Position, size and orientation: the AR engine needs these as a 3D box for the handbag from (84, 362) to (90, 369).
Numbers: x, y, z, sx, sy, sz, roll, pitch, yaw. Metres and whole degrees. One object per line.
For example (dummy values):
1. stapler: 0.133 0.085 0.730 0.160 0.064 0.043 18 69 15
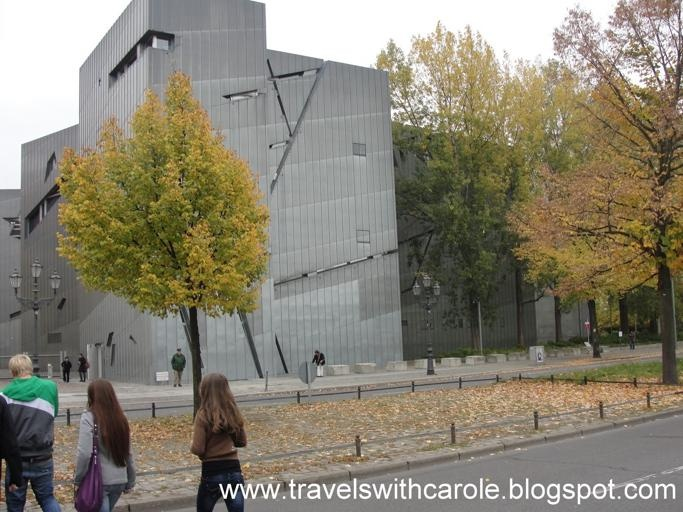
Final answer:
1. handbag: -14.310 6.174 51.407 0.239 0.276 0.342 1 -5 -19

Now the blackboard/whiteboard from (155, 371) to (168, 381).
1. blackboard/whiteboard: -9.058 6.156 46.100 0.703 0.582 0.398 4 -14 -26
